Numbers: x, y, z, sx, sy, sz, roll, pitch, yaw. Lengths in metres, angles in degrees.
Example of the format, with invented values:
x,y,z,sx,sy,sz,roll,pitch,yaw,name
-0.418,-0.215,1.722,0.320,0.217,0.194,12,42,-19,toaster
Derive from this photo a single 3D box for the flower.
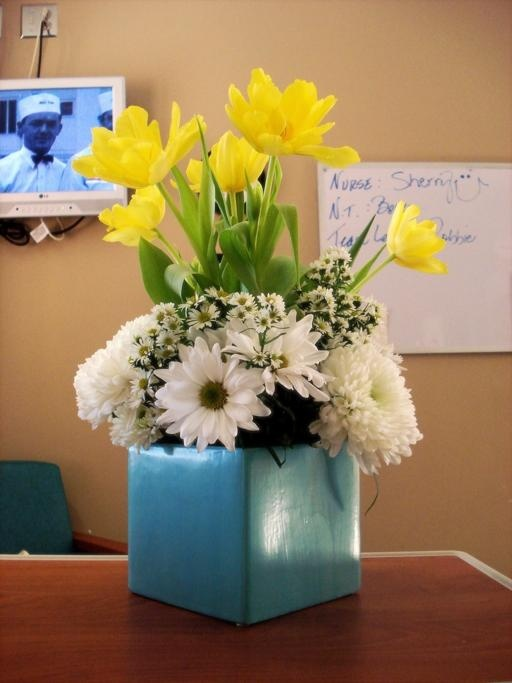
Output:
x,y,z,sx,sy,sz,roll,pitch,yaw,name
-0.005,-0.056,0.556,0.272,0.309,0.227,0,-1,35,flower

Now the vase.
x,y,z,sx,sy,sz,roll,pitch,yaw,name
-0.009,0.168,0.594,0.222,0.122,0.217,2,-11,-5,vase
